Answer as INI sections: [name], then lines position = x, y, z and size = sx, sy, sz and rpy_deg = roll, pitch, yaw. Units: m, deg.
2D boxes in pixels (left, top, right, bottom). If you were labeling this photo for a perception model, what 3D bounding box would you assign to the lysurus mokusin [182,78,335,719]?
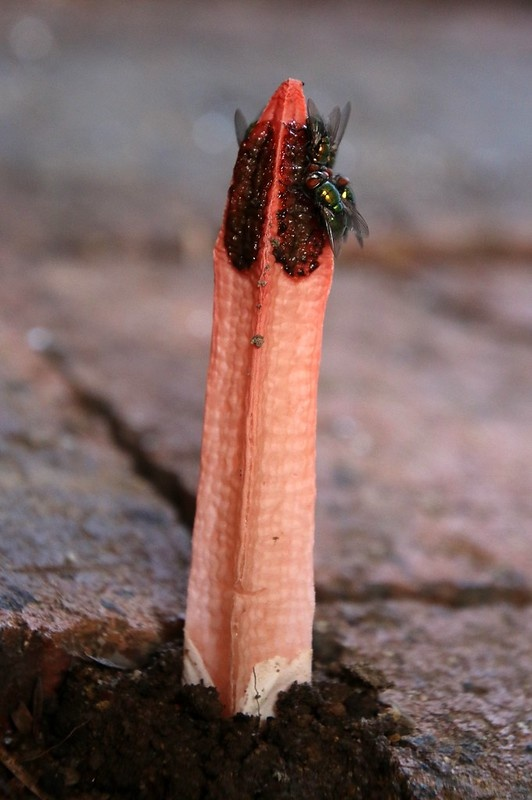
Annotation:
[lysurus mokusin]
position = -0.018, 0.020, 0.871
size = 0.168, 0.662, 0.159
rpy_deg = 0, 24, -1
